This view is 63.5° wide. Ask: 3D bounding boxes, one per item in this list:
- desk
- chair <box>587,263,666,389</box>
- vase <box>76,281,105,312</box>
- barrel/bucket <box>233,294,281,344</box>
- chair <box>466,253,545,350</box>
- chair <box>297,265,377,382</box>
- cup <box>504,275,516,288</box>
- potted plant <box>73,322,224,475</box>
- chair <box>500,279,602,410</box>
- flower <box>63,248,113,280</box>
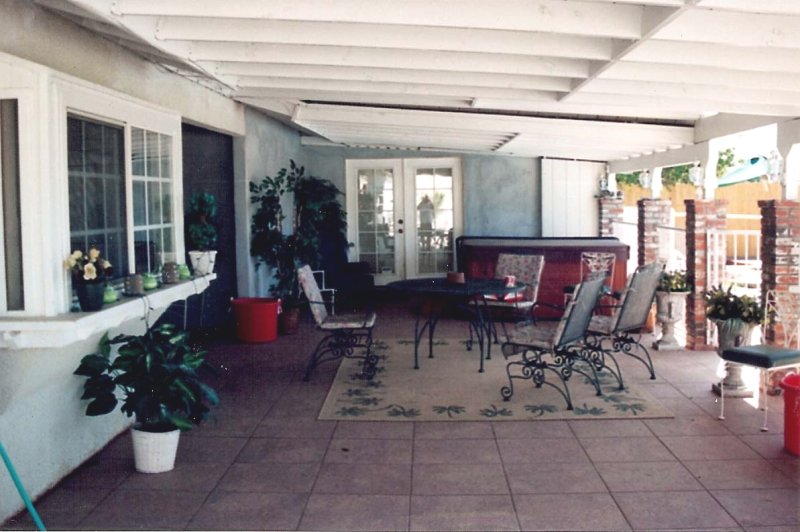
[{"bbox_3d":[0.643,0.591,7.708,1.202,0.756,1.197,0,-2,5],"label":"desk"},{"bbox_3d":[2.144,0.746,7.042,0.969,1.098,0.939,-17,-23,25],"label":"chair"},{"bbox_3d":[-2.250,0.225,4.762,0.211,0.223,0.208,0,-3,1],"label":"vase"},{"bbox_3d":[-1.785,0.661,8.196,0.548,0.400,0.578,0,4,0],"label":"barrel/bucket"},{"bbox_3d":[1.515,0.540,8.615,0.943,1.310,1.015,17,37,11],"label":"chair"},{"bbox_3d":[-0.703,0.591,7.159,0.886,1.089,0.784,0,7,-6],"label":"chair"},{"bbox_3d":[1.282,0.177,7.402,0.131,0.136,0.130,-1,-4,0],"label":"cup"},{"bbox_3d":[-2.008,1.012,5.379,1.112,1.015,1.127,3,-4,-15],"label":"potted plant"},{"bbox_3d":[1.568,0.661,6.585,1.003,1.264,1.448,2,14,12],"label":"chair"},{"bbox_3d":[-2.333,-0.010,4.820,0.268,0.223,0.266,3,1,23],"label":"flower"}]
